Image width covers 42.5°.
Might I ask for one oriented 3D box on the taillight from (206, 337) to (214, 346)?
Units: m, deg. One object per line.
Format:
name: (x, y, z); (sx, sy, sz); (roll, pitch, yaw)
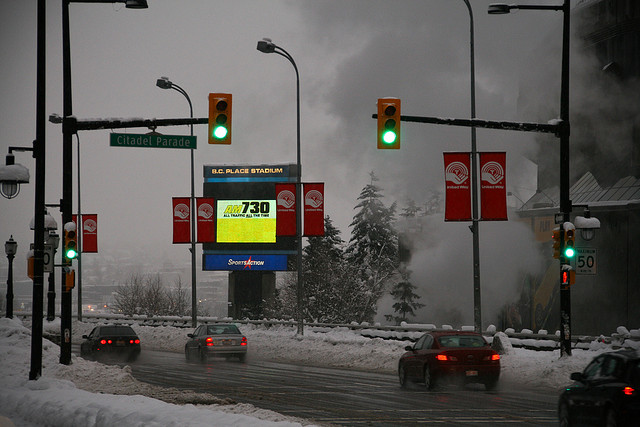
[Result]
taillight: (-5.892, 6.856, 43.892); (0.290, 0.324, 0.417); (-4, -14, 29)

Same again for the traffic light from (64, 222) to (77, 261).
traffic light: (-10.460, 1.147, 34.509); (0.525, 1.544, 0.477); (1, -5, -1)

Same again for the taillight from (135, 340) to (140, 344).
taillight: (-10.047, 7.060, 45.255); (0.195, 0.217, 0.048); (-1, -6, -10)

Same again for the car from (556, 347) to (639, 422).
car: (8.615, 5.354, 25.078); (0.784, 2.166, 2.789); (3, -6, -23)

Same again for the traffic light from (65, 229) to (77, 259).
traffic light: (-10.438, 1.264, 34.467); (0.495, 1.256, 0.471); (2, -5, -11)

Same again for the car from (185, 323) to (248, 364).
car: (-5.773, 6.967, 44.638); (1.840, 1.845, 4.887); (1, -4, -24)

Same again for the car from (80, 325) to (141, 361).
car: (-11.594, 7.137, 45.416); (3.300, 1.890, 1.812); (-1, -6, 23)

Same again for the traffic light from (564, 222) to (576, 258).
traffic light: (10.779, 1.137, 35.816); (0.427, 1.545, 0.345); (1, -5, 3)

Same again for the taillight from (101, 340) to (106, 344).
taillight: (-11.719, 6.978, 44.676); (0.176, 0.195, 0.038); (2, -3, -5)
